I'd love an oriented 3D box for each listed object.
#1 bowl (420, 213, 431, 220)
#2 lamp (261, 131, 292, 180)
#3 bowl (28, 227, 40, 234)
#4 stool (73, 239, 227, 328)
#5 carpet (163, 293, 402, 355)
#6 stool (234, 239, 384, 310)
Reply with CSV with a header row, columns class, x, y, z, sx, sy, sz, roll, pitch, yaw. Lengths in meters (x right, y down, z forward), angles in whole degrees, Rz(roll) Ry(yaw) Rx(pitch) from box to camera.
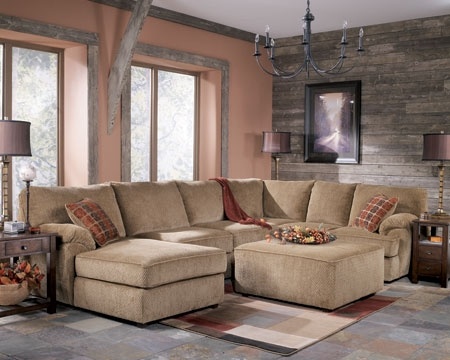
class,x,y,z,sx,sy,sz,roll,pitch,yaw
bowl,2.285,0.412,4.450,0.097,0.064,0.090,-1,4,0
lamp,0.945,-0.488,7.251,0.560,0.979,0.832,1,-1,8
bowl,-1.553,0.406,3.157,0.070,0.035,0.071,1,2,0
stool,-0.665,0.757,3.069,0.767,0.318,0.772,2,2,41
carpet,0.443,1.084,3.154,1.069,0.013,1.507,-1,-2,40
stool,0.786,0.865,4.000,1.273,0.509,1.361,4,2,40
